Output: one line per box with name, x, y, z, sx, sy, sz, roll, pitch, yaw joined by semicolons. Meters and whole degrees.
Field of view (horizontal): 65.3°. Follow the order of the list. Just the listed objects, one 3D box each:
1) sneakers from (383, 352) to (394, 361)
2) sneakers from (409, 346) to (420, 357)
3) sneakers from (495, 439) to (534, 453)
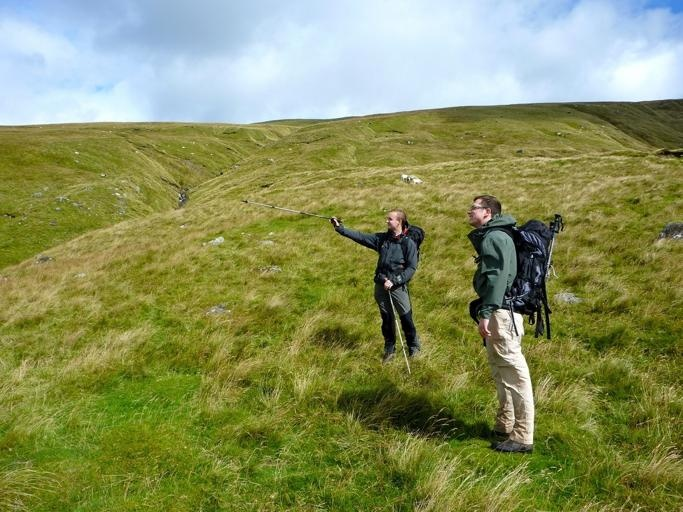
sneakers;1.117;2.353;12.500;0.294;0.113;0.311;-4;14;-1
sneakers;1.710;2.251;12.480;0.243;0.155;0.411;-2;14;7
sneakers;3.201;3.531;9.857;0.653;0.276;0.269;3;-8;16
